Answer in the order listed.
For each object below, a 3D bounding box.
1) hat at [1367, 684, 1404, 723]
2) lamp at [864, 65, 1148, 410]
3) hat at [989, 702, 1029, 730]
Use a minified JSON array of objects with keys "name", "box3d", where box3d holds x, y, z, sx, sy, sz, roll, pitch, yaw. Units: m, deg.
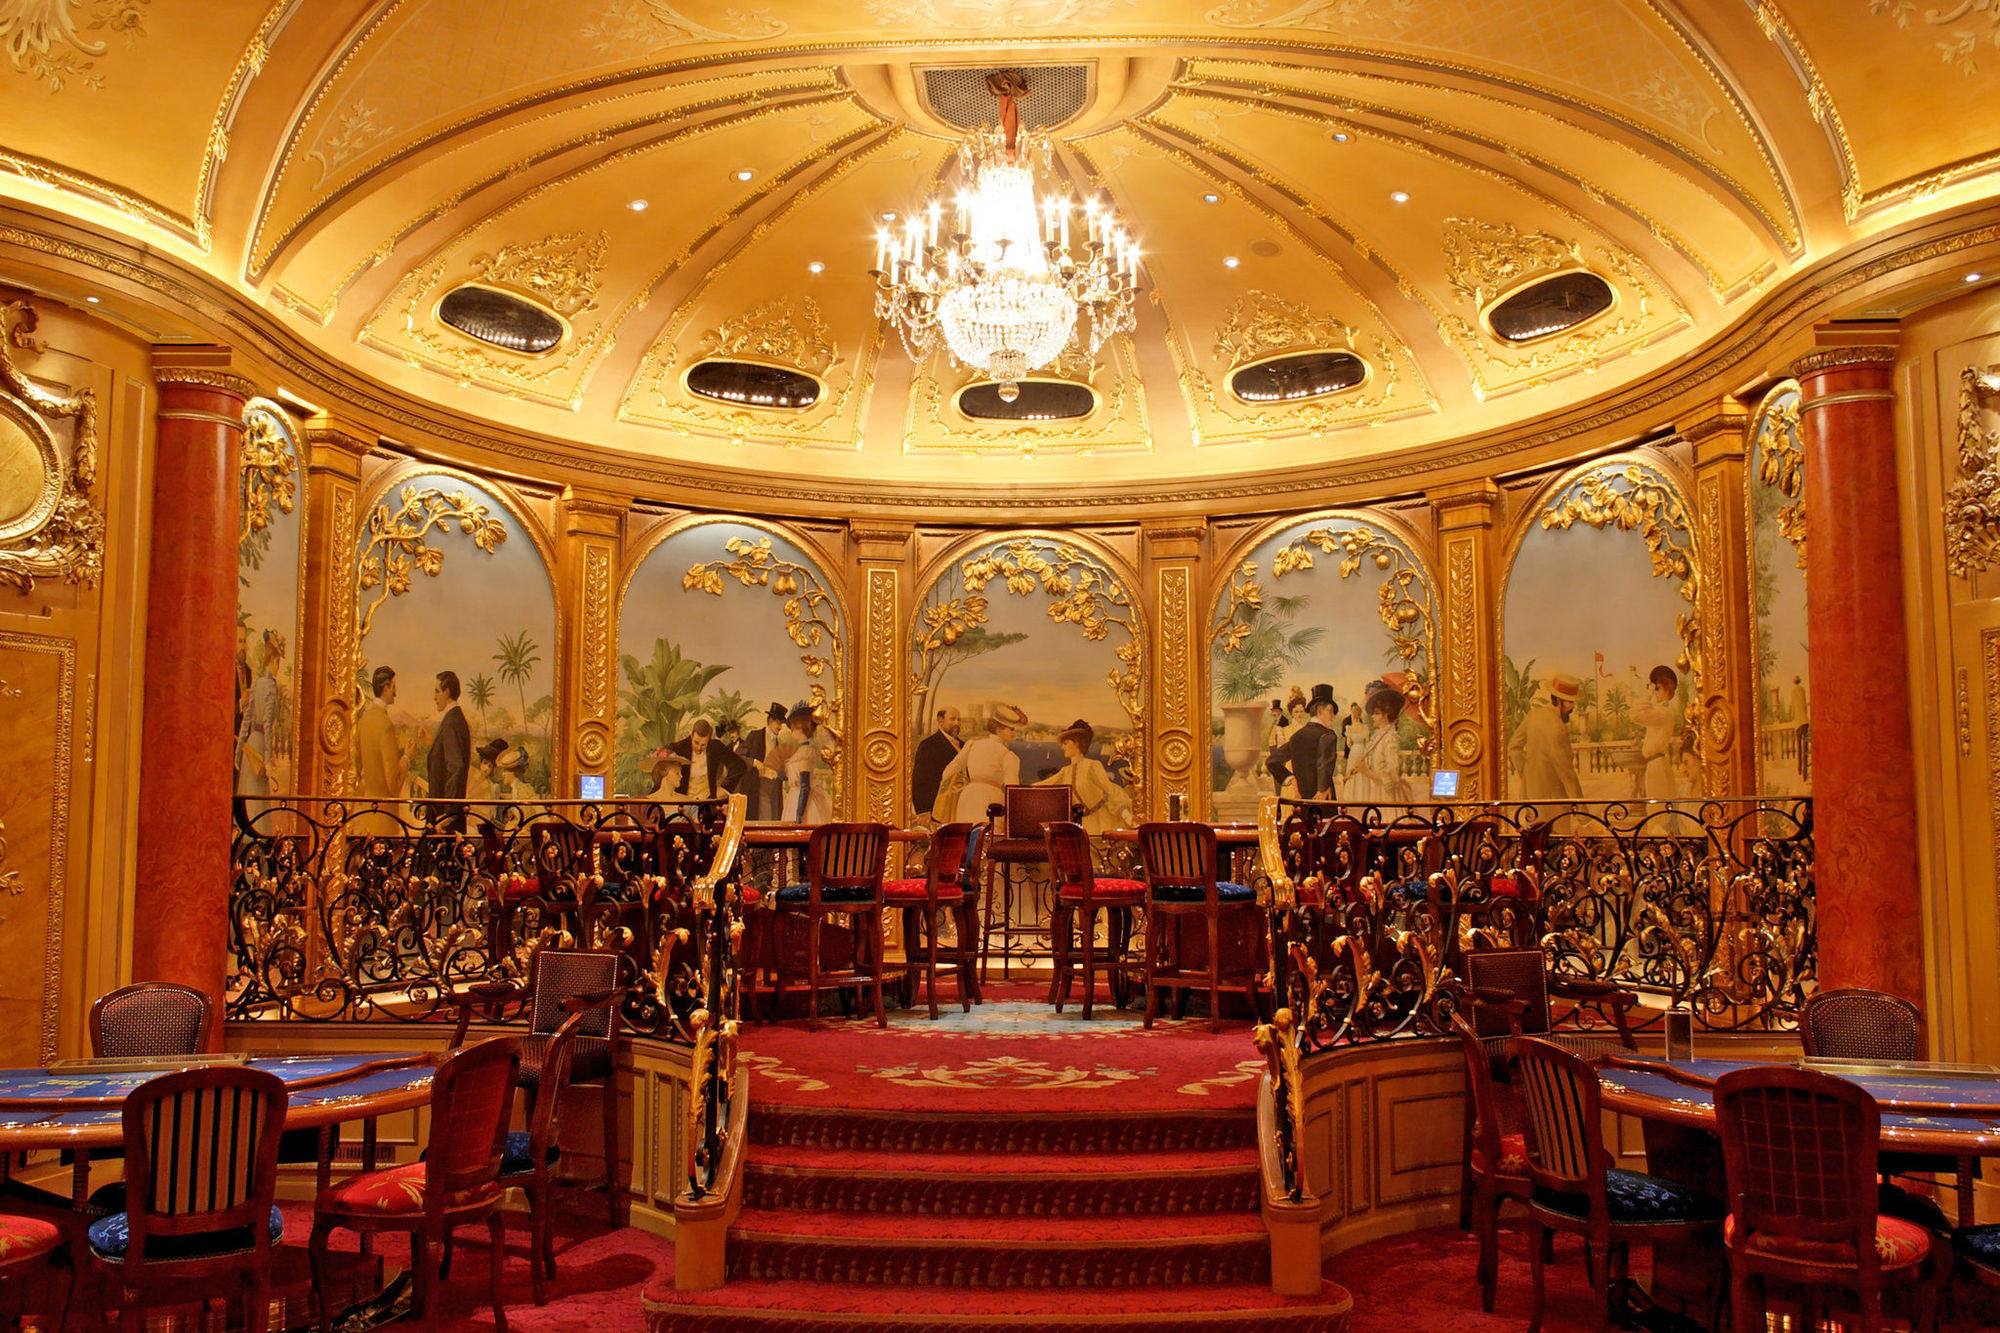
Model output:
[{"name":"hat","box3d":[3.602,0.327,13.573,0.345,0.339,0.296,6,3,31]},{"name":"lamp","box3d":[0.090,-3.220,10.853,1.832,2.508,1.772,11,28,22]},{"name":"hat","box3d":[0.108,0.482,14.488,0.280,0.101,0.279,22,29,-6]}]
